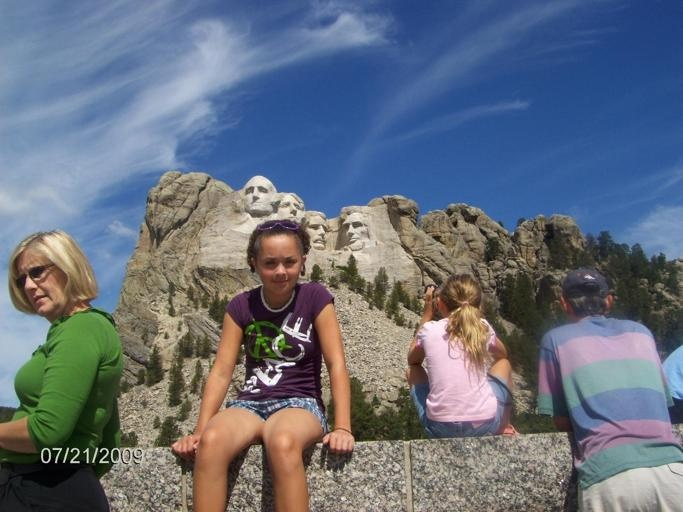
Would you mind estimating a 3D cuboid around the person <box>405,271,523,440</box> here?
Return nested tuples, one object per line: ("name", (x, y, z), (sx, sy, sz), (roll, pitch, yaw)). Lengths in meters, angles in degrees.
("person", (1.149, 0.972, 6.723), (0.997, 1.662, 0.576), (-4, -17, 12))

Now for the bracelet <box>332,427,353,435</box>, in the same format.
("bracelet", (0.009, 1.465, 5.596), (0.150, 0.059, 0.138), (1, -19, -6))
